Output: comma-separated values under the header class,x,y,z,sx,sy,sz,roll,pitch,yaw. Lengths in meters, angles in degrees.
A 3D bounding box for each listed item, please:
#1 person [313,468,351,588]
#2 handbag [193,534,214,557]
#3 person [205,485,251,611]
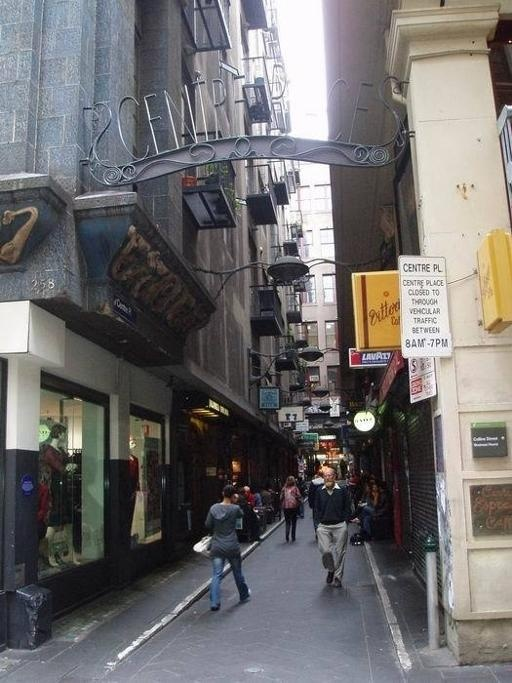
class,x,y,z,sx,sy,sz,roll,pitch,yaw
person,1.212,2.919,9.325,0.591,1.802,0.709,-5,-8,4
handbag,-0.725,2.858,8.243,0.219,0.314,0.952,-4,-9,-6
person,-0.437,2.821,8.143,0.359,1.625,0.886,-9,-9,31
